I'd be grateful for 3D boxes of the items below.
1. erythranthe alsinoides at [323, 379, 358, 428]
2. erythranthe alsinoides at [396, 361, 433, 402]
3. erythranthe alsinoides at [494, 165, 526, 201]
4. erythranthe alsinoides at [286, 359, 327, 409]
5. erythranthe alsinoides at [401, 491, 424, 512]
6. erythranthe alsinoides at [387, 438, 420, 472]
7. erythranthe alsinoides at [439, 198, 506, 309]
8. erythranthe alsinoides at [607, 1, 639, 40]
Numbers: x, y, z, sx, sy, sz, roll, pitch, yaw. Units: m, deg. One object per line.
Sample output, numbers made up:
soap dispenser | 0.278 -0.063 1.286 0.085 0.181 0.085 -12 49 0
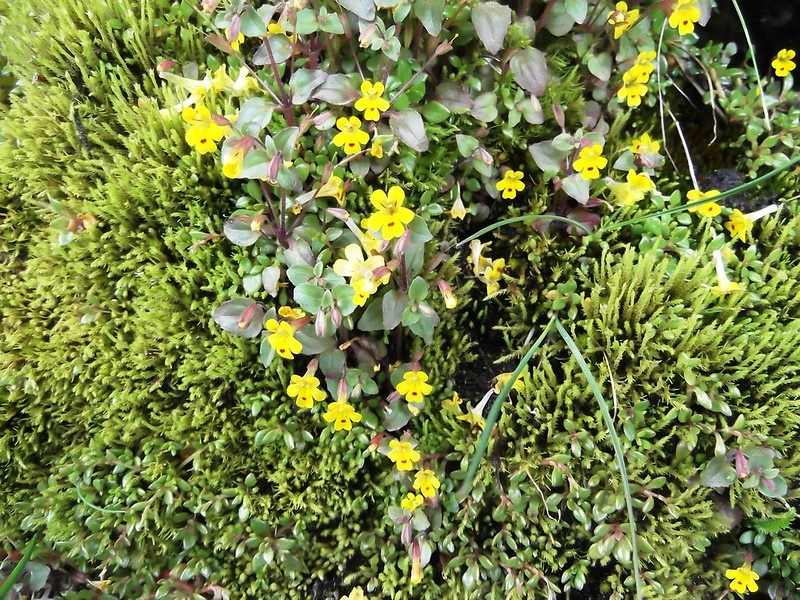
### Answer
erythranthe alsinoides | -0.236 0.452 2.673 0.159 0.076 0.200 3 108 -1
erythranthe alsinoides | 0.071 0.391 2.771 0.143 0.287 0.147 36 81 7
erythranthe alsinoides | 0.520 -0.542 2.914 0.125 0.151 0.128 -28 80 -5
erythranthe alsinoides | -0.393 0.365 2.677 0.153 0.094 0.223 26 101 -12
erythranthe alsinoides | 0.056 0.883 2.704 0.089 0.043 0.080 -17 72 17
erythranthe alsinoides | 0.027 0.655 2.701 0.136 0.055 0.141 -43 77 23
erythranthe alsinoides | 0.346 -0.204 2.825 0.393 0.180 0.387 -11 98 9
erythranthe alsinoides | 1.022 -1.301 2.929 0.178 0.172 0.092 -15 35 -13
